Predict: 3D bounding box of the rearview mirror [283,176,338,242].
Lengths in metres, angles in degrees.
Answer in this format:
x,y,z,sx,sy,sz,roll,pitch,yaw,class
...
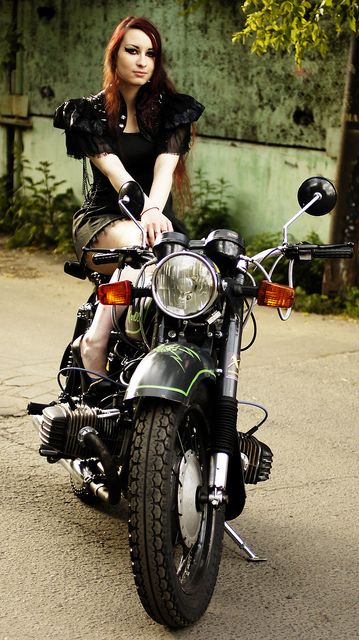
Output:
x,y,z,sx,sy,sz,roll,pitch,yaw,class
0.518,-0.450,2.200,0.174,0.186,0.330,19,38,22,rearview mirror

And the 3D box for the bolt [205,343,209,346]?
x,y,z,sx,sy,sz,roll,pitch,yaw,class
0.092,0.082,1.894,0.008,0.009,0.002,1,-11,-7,bolt

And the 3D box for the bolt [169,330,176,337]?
x,y,z,sx,sy,sz,roll,pitch,yaw,class
-0.026,0.044,1.811,0.018,0.019,0.004,11,-7,-2,bolt

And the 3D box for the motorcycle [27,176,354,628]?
x,y,z,sx,sy,sz,roll,pitch,yaw,class
-0.078,0.189,2.139,1.017,1.528,1.119,-2,6,-44,motorcycle

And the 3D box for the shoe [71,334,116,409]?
x,y,z,sx,sy,sz,roll,pitch,yaw,class
-0.376,0.223,2.394,0.228,0.269,0.096,5,1,-1,shoe

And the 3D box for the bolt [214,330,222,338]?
x,y,z,sx,sy,sz,roll,pitch,yaw,class
0.130,0.048,1.922,0.020,0.021,0.008,-2,-18,17,bolt

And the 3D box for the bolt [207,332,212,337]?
x,y,z,sx,sy,sz,roll,pitch,yaw,class
0.101,0.048,1.886,0.013,0.013,0.005,-13,-6,-39,bolt

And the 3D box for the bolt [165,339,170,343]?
x,y,z,sx,sy,sz,roll,pitch,yaw,class
-0.043,0.066,1.803,0.010,0.014,0.036,3,-3,4,bolt

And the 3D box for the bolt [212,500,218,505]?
x,y,z,sx,sy,sz,roll,pitch,yaw,class
0.105,0.556,1.689,0.012,0.013,0.003,-6,-8,-2,bolt

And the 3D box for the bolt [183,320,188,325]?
x,y,z,sx,sy,sz,roll,pitch,yaw,class
0.019,0.006,1.773,0.011,0.011,0.003,-3,-6,-37,bolt

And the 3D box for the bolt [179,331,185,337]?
x,y,z,sx,sy,sz,roll,pitch,yaw,class
0.007,0.045,1.825,0.011,0.019,0.031,4,4,20,bolt
